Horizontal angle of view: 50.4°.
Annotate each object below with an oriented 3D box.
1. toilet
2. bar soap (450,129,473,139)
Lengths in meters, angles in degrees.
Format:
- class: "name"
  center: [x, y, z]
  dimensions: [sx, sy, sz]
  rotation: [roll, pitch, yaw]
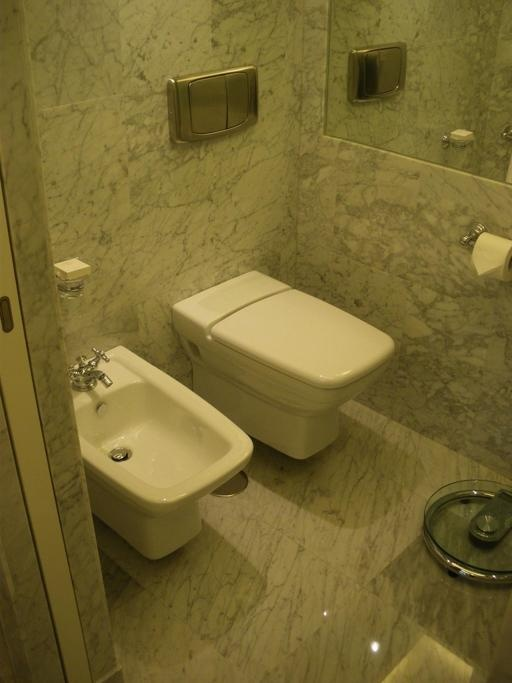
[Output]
- class: "toilet"
  center: [0.099, 0.113, 1.988]
  dimensions: [0.686, 0.469, 0.493]
  rotation: [22, 34, 28]
- class: "bar soap"
  center: [0.621, -0.623, 1.643]
  dimensions: [0.015, 0.034, 0.081]
  rotation: [-13, 28, -25]
